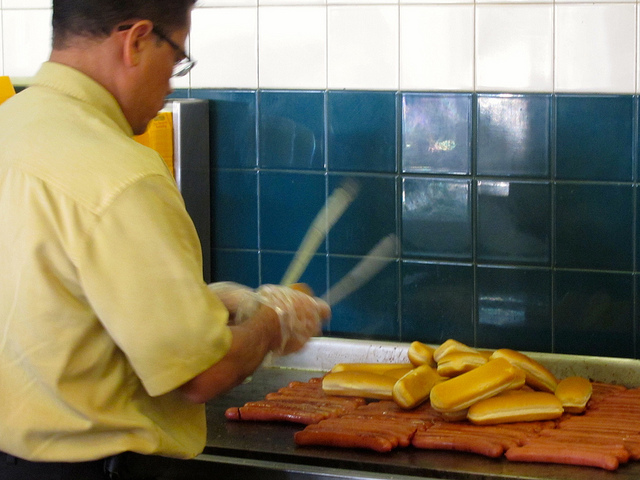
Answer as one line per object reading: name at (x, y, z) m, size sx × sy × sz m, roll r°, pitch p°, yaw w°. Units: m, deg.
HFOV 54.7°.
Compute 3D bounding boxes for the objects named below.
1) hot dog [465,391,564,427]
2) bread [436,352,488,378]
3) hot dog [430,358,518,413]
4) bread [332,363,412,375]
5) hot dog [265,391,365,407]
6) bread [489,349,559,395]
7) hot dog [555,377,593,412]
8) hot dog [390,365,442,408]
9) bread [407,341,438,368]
hot dog at (0.492, 0.418, 1.545) m, size 0.234 × 0.071 × 0.116 m, roll -11°, pitch 2°, yaw 11°
bread at (0.381, 0.321, 1.656) m, size 0.097 × 0.047 × 0.072 m, roll -7°, pitch -1°, yaw 1°
hot dog at (0.373, 0.359, 1.543) m, size 0.216 × 0.070 × 0.108 m, roll -19°, pitch 32°, yaw 0°
bread at (0.142, 0.371, 1.794) m, size 0.145 × 0.036 × 0.027 m, roll -1°, pitch -22°, yaw 0°
hot dog at (-0.017, 0.434, 1.691) m, size 0.158 × 0.023 × 0.088 m, roll 0°, pitch 0°, yaw 13°
bread at (0.565, 0.349, 1.725) m, size 0.151 × 0.114 × 0.161 m, roll 7°, pitch 12°, yaw 38°
hot dog at (0.673, 0.394, 1.629) m, size 0.095 × 0.056 × 0.173 m, roll -7°, pitch 15°, yaw 31°
hot dog at (0.246, 0.374, 1.593) m, size 0.067 × 0.039 × 0.133 m, roll 37°, pitch 44°, yaw 16°
bread at (0.295, 0.330, 1.796) m, size 0.077 × 0.063 × 0.066 m, roll 10°, pitch -2°, yaw 35°
